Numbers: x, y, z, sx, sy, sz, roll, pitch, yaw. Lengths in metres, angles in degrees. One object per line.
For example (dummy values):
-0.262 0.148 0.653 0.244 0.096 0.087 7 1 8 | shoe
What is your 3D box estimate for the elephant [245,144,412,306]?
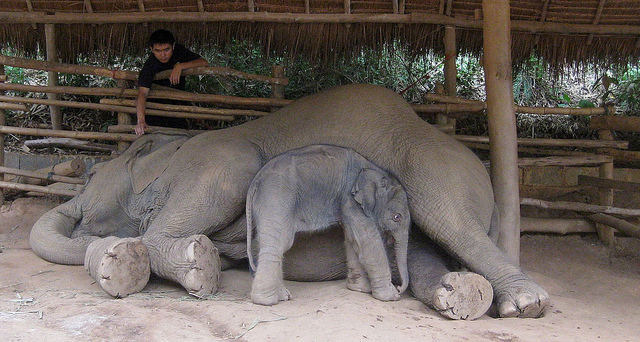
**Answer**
0.192 0.645 7.254 2.155 1.788 0.932 4 -1 -14 | elephant
